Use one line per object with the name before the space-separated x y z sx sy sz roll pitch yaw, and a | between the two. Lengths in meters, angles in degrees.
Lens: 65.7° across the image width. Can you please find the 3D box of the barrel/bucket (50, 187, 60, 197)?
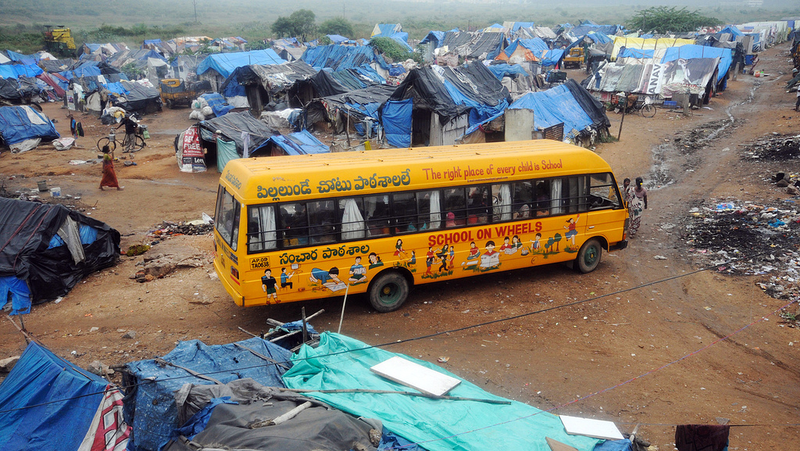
barrel/bucket | -15.293 -1.476 27.504 0.313 0.380 0.516 -11 -4 44
